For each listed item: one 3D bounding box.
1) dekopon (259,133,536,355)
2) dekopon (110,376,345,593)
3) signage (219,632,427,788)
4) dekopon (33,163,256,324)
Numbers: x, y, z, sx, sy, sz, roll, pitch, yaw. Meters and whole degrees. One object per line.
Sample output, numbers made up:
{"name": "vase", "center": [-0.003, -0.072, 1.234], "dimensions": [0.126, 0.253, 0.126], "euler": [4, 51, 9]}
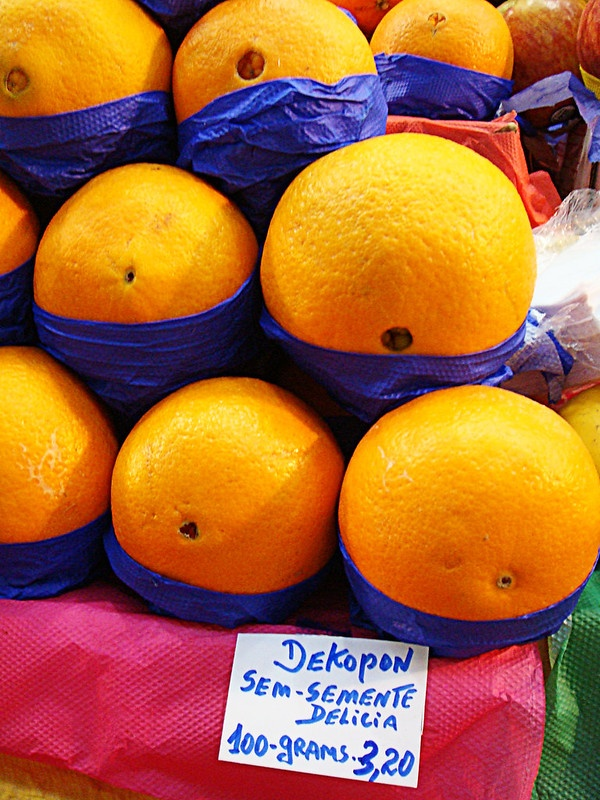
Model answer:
{"name": "dekopon", "center": [0.080, -0.124, 0.594], "dimensions": [0.218, 0.130, 0.153], "euler": [3, 46, -3]}
{"name": "dekopon", "center": [-0.059, 0.085, 0.680], "dimensions": [0.213, 0.189, 0.187], "euler": [-4, 6, 10]}
{"name": "signage", "center": [0.023, 0.258, 0.591], "dimensions": [0.165, 0.008, 0.108], "euler": [5, 66, 14]}
{"name": "dekopon", "center": [-0.138, -0.155, 0.685], "dimensions": [0.133, 0.170, 0.148], "euler": [-10, 52, -30]}
